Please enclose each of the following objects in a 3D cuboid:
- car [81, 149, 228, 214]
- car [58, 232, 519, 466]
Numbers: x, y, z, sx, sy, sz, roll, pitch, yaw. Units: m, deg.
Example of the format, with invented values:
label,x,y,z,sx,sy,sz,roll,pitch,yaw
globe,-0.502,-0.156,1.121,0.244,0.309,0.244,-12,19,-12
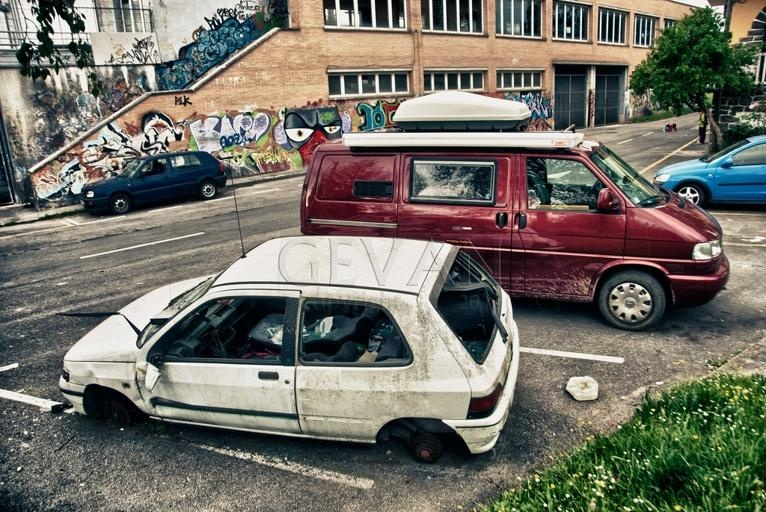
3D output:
label,x,y,z,sx,sy,sz,roll,pitch,yaw
car,-8.563,-2.788,20.848,4.801,1.891,2.303,-6,16,-21
car,-0.988,1.029,7.363,5.069,1.771,2.995,7,24,9
